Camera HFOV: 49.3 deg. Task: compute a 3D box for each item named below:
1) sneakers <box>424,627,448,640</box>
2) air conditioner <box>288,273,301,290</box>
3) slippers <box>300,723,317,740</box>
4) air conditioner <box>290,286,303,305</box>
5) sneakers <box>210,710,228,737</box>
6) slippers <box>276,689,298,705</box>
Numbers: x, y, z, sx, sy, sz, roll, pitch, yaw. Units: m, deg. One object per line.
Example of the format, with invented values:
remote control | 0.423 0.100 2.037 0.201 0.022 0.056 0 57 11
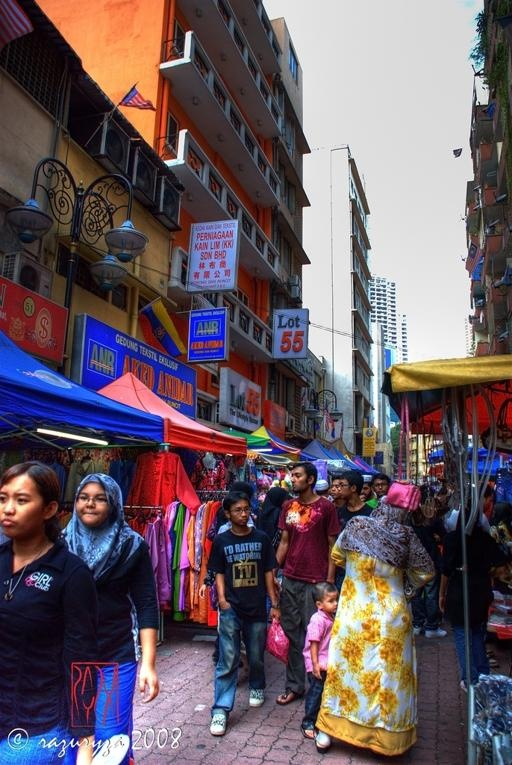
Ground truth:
sneakers | 2.322 3.200 7.180 0.341 0.164 0.116 2 -4 -26
air conditioner | 1.745 -4.606 25.434 0.297 0.929 0.991 1 -6 16
slippers | 0.361 2.348 3.744 0.084 0.082 0.199 1 -28 7
air conditioner | 1.831 -4.018 25.500 0.277 0.842 0.931 -1 -6 16
sneakers | -0.255 2.327 3.832 0.113 0.126 0.207 2 -13 -3
slippers | 0.242 2.543 4.496 0.071 0.094 0.227 -13 -37 36
